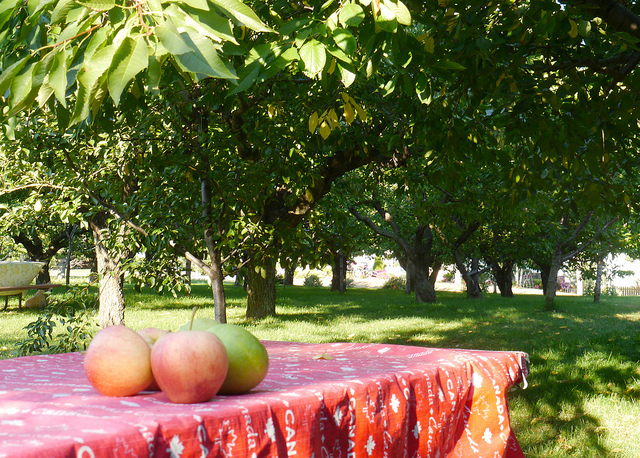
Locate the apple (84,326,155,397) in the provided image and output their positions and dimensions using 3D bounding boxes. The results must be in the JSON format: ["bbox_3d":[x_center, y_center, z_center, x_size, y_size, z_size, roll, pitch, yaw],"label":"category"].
[{"bbox_3d":[-1.191,0.737,3.463,0.334,0.464,0.336,-3,-9,34],"label":"apple"}]
